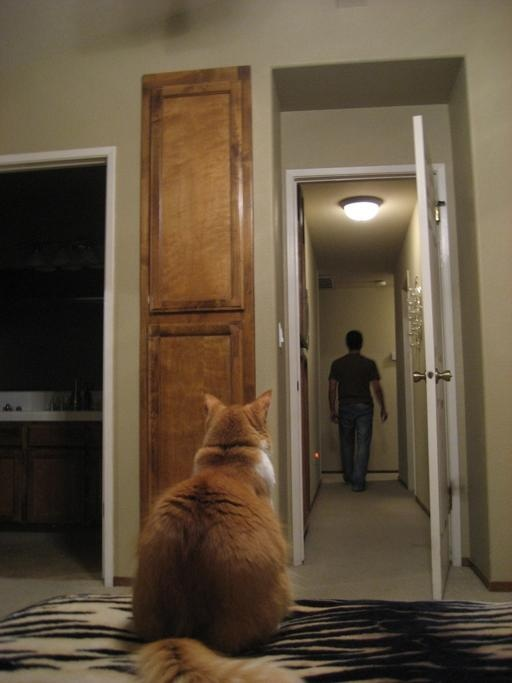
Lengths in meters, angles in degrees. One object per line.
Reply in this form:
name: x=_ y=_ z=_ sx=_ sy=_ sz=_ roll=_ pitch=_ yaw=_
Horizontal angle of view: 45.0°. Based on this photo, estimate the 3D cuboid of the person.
person: x=1.055 y=0.704 z=6.399 sx=0.574 sy=1.622 sz=0.875 roll=-2 pitch=-10 yaw=10

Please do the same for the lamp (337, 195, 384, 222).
lamp: x=0.830 y=-1.039 z=4.861 sx=0.353 sy=0.178 sz=0.334 roll=-2 pitch=-11 yaw=6
